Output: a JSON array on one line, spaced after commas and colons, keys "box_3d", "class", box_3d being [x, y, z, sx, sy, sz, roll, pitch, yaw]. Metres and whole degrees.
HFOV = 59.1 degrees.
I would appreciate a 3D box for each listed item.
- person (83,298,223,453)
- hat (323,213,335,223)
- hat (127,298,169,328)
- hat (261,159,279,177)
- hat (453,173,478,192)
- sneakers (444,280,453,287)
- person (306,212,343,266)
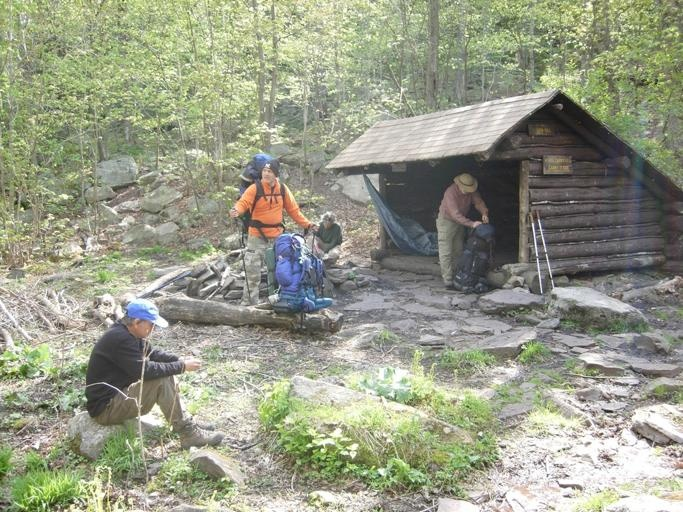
[{"box_3d": [-2.416, 1.466, 7.465, 1.439, 1.829, 0.342, 0, 11, 0], "class": "person"}, {"box_3d": [-0.278, -0.830, 13.212, 0.218, 0.214, 0.230, -1, -5, 0], "class": "hat"}, {"box_3d": [-2.413, 0.686, 7.465, 0.544, 0.238, 0.327, 18, 6, -18], "class": "hat"}, {"box_3d": [-1.232, -1.538, 10.525, 0.314, 0.303, 0.224, -5, 11, -25], "class": "hat"}, {"box_3d": [2.526, -1.500, 12.297, 0.410, 0.132, 0.423, -7, 44, -20], "class": "hat"}, {"box_3d": [2.209, 0.576, 12.466, 0.080, 0.144, 0.207, -7, 12, -31], "class": "sneakers"}, {"box_3d": [-0.344, -0.406, 13.421, 0.817, 1.103, 0.863, 12, 13, 7], "class": "person"}]
